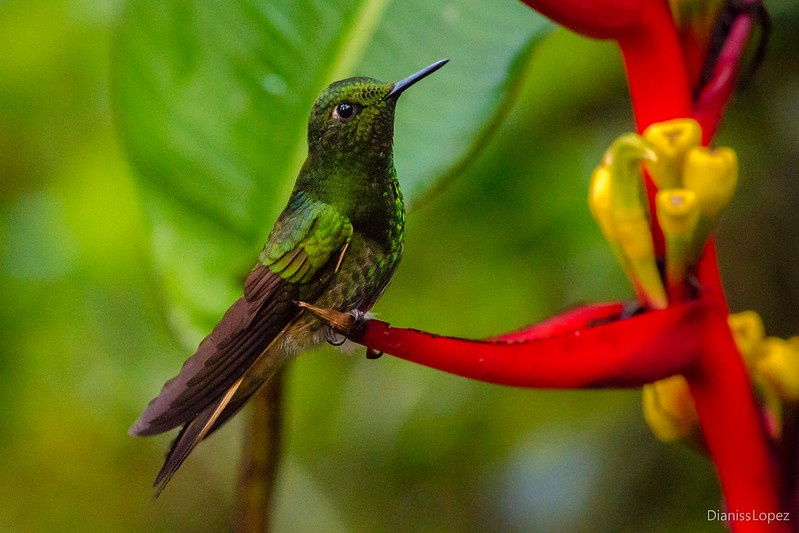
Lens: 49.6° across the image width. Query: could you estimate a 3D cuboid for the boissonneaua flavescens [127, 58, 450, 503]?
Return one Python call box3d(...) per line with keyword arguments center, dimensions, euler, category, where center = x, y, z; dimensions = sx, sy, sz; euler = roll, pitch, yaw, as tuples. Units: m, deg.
box3d(center=(-0.158, 0.007, 1.149), dimensions=(0.459, 0.471, 0.169), euler=(-10, 1, 4), category="boissonneaua flavescens")
